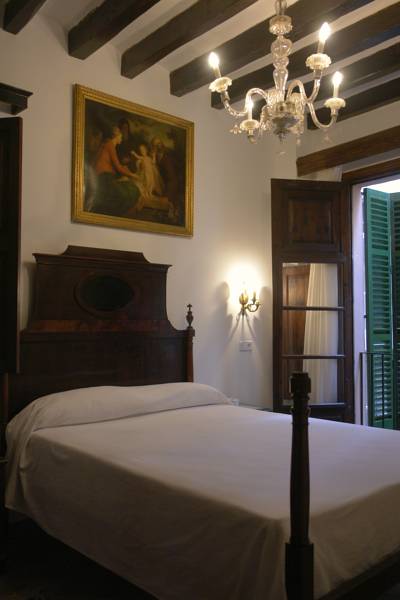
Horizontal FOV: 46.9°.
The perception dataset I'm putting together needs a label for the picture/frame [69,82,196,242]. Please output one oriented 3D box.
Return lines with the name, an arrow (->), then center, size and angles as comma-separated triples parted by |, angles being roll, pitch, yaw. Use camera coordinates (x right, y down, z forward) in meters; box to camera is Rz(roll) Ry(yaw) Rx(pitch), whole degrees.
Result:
picture/frame -> -0.563, -1.084, 3.605 | 0.044, 1.142, 1.093 | -5, -8, 43
